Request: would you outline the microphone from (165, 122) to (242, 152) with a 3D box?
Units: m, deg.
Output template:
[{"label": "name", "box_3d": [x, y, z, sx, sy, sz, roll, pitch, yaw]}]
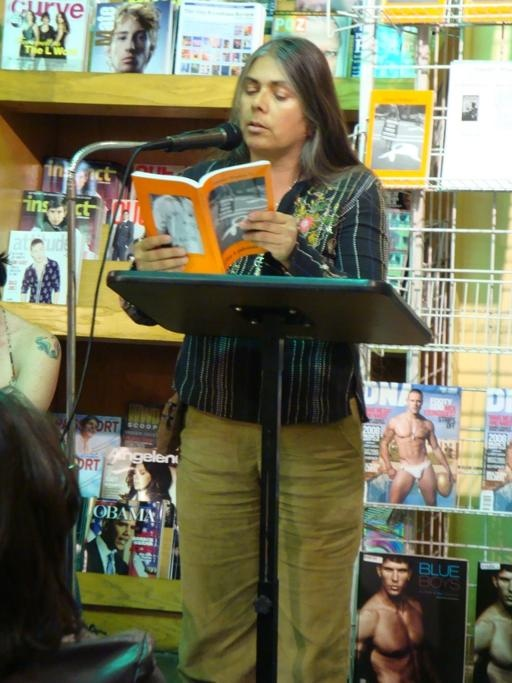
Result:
[{"label": "microphone", "box_3d": [-0.079, -0.325, 1.034, 0.169, 0.043, 0.045, -9, 5, -40]}]

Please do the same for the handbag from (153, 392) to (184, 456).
[{"label": "handbag", "box_3d": [-0.165, 0.168, 1.238, 0.041, 0.129, 0.058, 14, 11, 38]}]
